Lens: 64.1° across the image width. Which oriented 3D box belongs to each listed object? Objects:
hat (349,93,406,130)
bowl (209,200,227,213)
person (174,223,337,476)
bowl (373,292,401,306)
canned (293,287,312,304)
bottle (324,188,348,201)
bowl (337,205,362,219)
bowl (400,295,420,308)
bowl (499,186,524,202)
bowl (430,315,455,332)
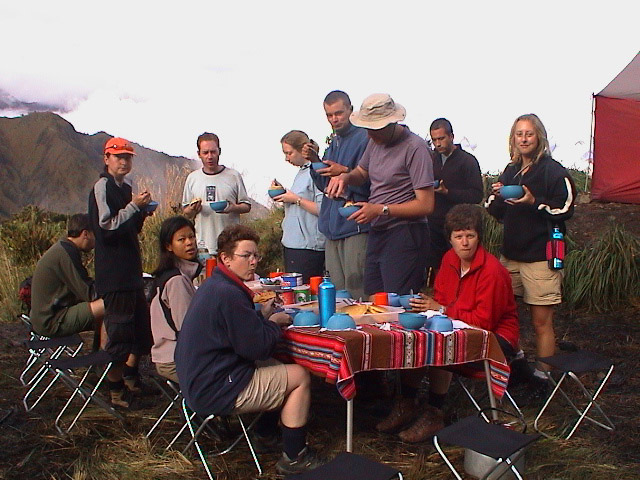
[{"bbox_3d":[0.457,-1.017,4.054,0.437,0.295,0.266,0,5,3],"label":"hat"},{"bbox_3d":[-1.020,-0.329,5.173,0.171,0.118,0.228,-2,5,-9],"label":"bowl"},{"bbox_3d":[-0.491,0.660,4.154,1.302,2.372,1.049,-3,6,-20],"label":"person"},{"bbox_3d":[0.490,0.441,3.734,0.099,0.073,0.161,-3,-8,38],"label":"bowl"},{"bbox_3d":[-0.144,0.422,3.995,0.104,0.117,0.113,-4,9,7],"label":"canned"},{"bbox_3d":[0.128,-0.404,4.374,0.108,0.139,0.189,2,9,11],"label":"bottle"},{"bbox_3d":[0.228,-0.224,4.041,0.113,0.084,0.120,-12,-5,-1],"label":"bowl"},{"bbox_3d":[0.637,0.444,3.688,0.088,0.066,0.096,-1,-6,0],"label":"bowl"},{"bbox_3d":[1.625,-0.389,4.345,0.123,0.096,0.134,0,-1,0],"label":"bowl"},{"bbox_3d":[0.769,0.533,3.252,0.102,0.066,0.101,1,-4,0],"label":"bowl"}]
